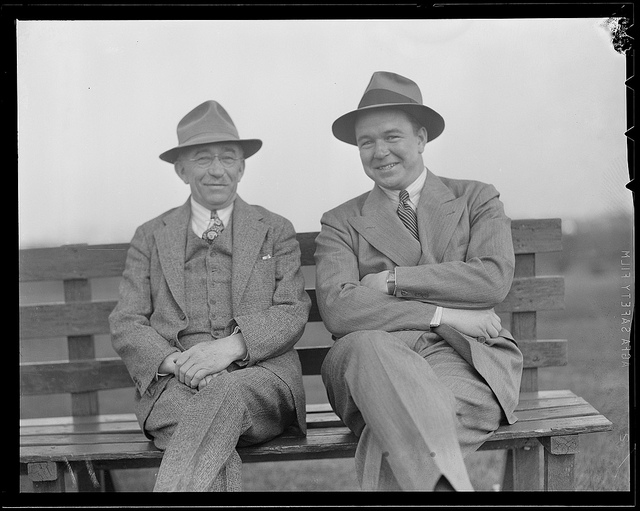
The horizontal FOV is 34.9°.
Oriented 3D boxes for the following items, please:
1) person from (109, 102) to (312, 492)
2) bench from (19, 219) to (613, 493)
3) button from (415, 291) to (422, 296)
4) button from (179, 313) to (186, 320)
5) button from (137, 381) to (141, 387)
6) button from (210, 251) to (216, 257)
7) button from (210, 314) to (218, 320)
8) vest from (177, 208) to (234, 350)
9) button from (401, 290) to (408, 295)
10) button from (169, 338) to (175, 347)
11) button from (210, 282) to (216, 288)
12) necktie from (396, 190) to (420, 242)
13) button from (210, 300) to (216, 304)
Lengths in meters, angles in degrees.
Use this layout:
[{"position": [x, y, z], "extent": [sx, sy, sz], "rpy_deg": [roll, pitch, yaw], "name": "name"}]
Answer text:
[{"position": [-0.506, 0.123, 4.873], "extent": [0.966, 1.333, 0.756], "rpy_deg": [-4, -2, -16], "name": "person"}, {"position": [-0.121, 0.802, 5.232], "extent": [2.906, 1.520, 0.991], "rpy_deg": [-3, 2, 7], "name": "bench"}, {"position": [0.476, 0.175, 4.892], "extent": [0.023, 0.008, 0.021], "rpy_deg": [3, -32, 3], "name": "button"}, {"position": [-0.676, 0.291, 4.994], "extent": [0.033, 0.030, 0.007], "rpy_deg": [-4, -6, 7], "name": "button"}, {"position": [-0.867, 0.604, 4.865], "extent": [0.021, 0.020, 0.006], "rpy_deg": [-5, -9, 42], "name": "button"}, {"position": [-0.535, -0.014, 5.065], "extent": [0.029, 0.026, 0.007], "rpy_deg": [0, -3, -14], "name": "button"}, {"position": [-0.522, 0.291, 4.979], "extent": [0.027, 0.025, 0.006], "rpy_deg": [-1, -12, -5], "name": "button"}, {"position": [-0.570, 0.116, 5.053], "extent": [0.302, 0.478, 0.191], "rpy_deg": [-4, -2, -6], "name": "vest"}, {"position": [0.407, 0.169, 4.898], "extent": [0.030, 0.017, 0.014], "rpy_deg": [-4, -2, -2], "name": "button"}, {"position": [-0.722, 0.416, 4.957], "extent": [0.027, 0.035, 0.014], "rpy_deg": [-1, 5, 29], "name": "button"}, {"position": [-0.530, 0.137, 5.017], "extent": [0.030, 0.027, 0.007], "rpy_deg": [1, -5, -9], "name": "button"}, {"position": [0.447, -0.211, 5.146], "extent": [0.086, 0.259, 0.056], "rpy_deg": [-34, -21, 9], "name": "necktie"}, {"position": [-0.529, 0.219, 4.997], "extent": [0.019, 0.018, 0.004], "rpy_deg": [-1, -13, -6], "name": "button"}]
